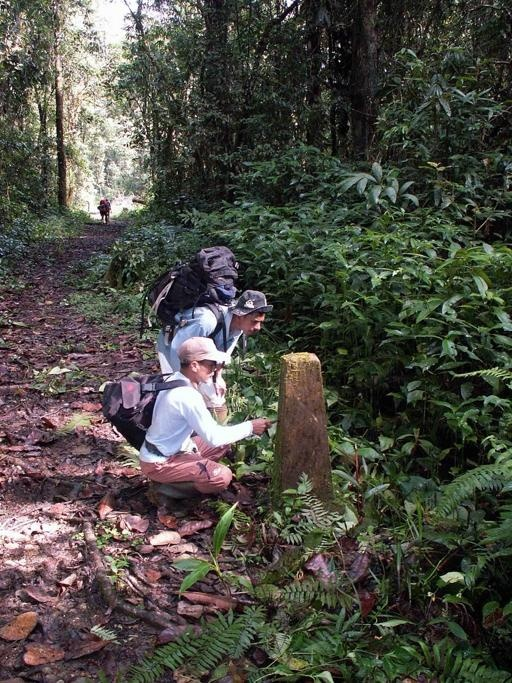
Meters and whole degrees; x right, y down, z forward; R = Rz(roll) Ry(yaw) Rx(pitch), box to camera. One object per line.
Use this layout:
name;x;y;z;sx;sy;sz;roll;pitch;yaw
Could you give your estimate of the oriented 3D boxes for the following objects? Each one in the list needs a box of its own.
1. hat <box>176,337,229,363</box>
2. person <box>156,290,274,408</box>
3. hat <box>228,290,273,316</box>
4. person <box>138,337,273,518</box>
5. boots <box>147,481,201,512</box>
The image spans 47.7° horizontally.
hat;-0.293;0.054;3.279;0.232;0.113;0.140;9;9;-19
person;-0.268;0.119;3.988;0.866;0.403;1.069;-2;46;-9
hat;-0.039;-0.264;4.011;0.226;0.084;0.201;-2;6;25
person;-0.327;0.453;3.331;0.643;0.960;0.334;3;8;25
boots;-0.487;0.947;3.504;0.245;0.167;0.246;0;10;-19
